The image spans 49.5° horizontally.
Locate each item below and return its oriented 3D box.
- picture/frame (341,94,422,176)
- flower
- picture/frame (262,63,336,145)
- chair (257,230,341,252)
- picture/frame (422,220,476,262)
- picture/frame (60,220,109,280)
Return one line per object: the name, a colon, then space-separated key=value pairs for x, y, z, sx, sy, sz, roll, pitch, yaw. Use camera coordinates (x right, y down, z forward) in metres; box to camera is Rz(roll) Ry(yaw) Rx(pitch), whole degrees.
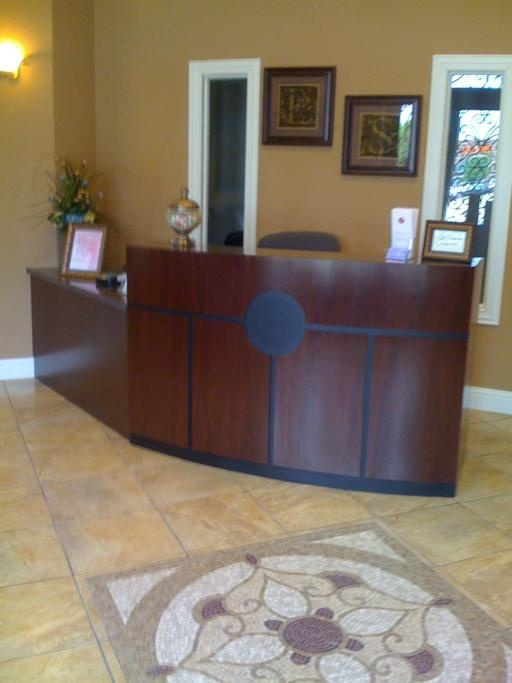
picture/frame: x=0.864 y=-1.414 z=3.731 sx=0.524 sy=0.527 sz=0.043 roll=6 pitch=15 yaw=17
flower: x=-1.376 y=-1.111 z=4.171 sx=0.356 sy=0.572 sz=0.563 roll=-1 pitch=7 yaw=-16
picture/frame: x=0.320 y=-1.684 z=3.862 sx=0.577 sy=0.556 sz=0.040 roll=3 pitch=14 yaw=16
chair: x=0.271 y=-0.660 z=3.595 sx=0.510 sy=0.135 sz=0.214 roll=0 pitch=6 yaw=-2
picture/frame: x=0.816 y=-0.426 z=2.352 sx=0.213 sy=0.190 sz=0.023 roll=9 pitch=1 yaw=37
picture/frame: x=-1.149 y=-0.619 z=3.729 sx=0.471 sy=0.517 sz=0.040 roll=3 pitch=-3 yaw=31
